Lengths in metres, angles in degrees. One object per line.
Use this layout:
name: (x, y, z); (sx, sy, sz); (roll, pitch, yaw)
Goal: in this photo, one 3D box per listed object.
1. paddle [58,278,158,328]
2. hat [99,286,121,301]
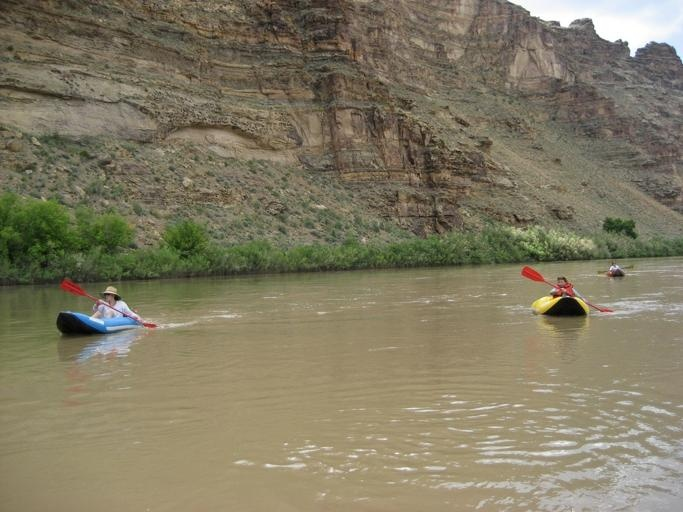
paddle: (-7.173, 1.441, 23.022); (2.982, 0.341, 0.136); (20, 48, 3)
hat: (-7.010, 1.124, 22.674); (0.531, 0.205, 0.445); (2, -26, 6)
